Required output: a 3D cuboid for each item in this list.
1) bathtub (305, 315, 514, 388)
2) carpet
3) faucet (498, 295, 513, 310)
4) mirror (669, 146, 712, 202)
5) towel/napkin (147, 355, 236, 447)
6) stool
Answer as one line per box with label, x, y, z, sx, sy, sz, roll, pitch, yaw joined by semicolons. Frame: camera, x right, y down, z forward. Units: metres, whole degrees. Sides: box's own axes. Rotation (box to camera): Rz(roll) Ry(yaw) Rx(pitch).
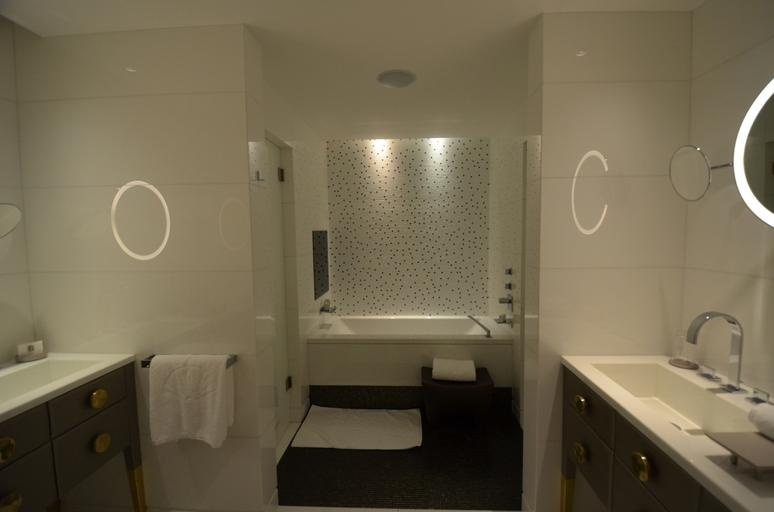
bathtub;0.194;0.796;5.218;1.774;0.580;0.982;0;3;0
carpet;-0.224;1.371;4.520;1.016;0.147;0.594;0;3;5
faucet;1.020;0.383;4.828;0.095;0.118;0.150;3;-3;0
mirror;1.774;-0.486;3.266;0.274;0.381;0.027;9;14;44
towel/napkin;-1.219;0.875;3.476;0.497;0.596;0.308;-1;0;-1
stool;0.547;1.135;4.465;0.655;0.534;0.380;-1;-3;4
